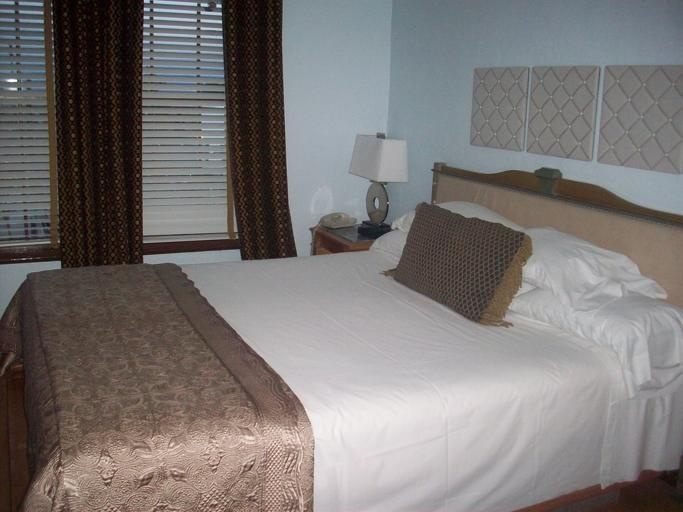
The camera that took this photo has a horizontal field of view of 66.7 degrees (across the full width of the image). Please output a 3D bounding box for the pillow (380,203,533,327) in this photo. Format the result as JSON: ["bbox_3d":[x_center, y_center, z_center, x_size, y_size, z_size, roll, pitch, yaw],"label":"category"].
[{"bbox_3d":[0.621,0.026,2.681,0.240,0.531,0.882,19,5,-32],"label":"pillow"}]

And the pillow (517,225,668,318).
[{"bbox_3d":[1.147,0.003,2.500,0.366,0.121,0.472,-25,40,-23],"label":"pillow"}]
